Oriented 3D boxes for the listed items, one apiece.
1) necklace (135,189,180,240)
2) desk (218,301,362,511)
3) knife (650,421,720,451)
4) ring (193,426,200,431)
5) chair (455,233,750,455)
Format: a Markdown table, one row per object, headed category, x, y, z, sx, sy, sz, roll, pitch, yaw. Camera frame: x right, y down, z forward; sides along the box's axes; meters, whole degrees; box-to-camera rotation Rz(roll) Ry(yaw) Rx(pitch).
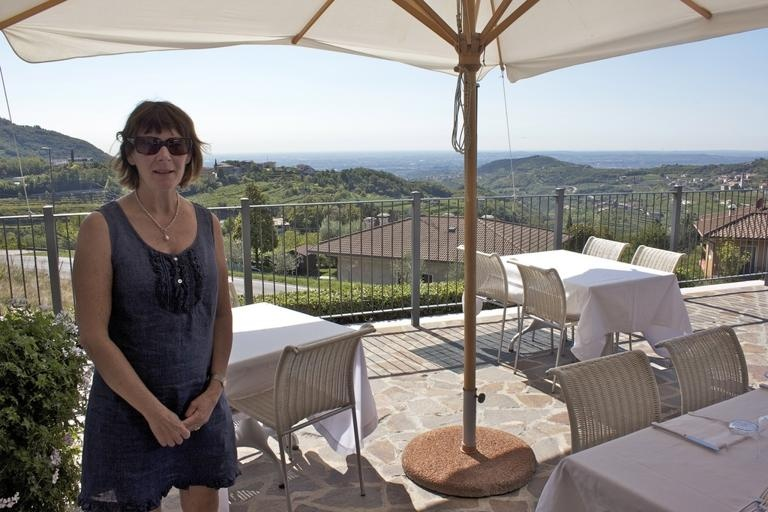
| category | x | y | z | sx | sy | sz | roll | pitch | yaw |
| --- | --- | --- | --- | --- | --- | --- | --- | --- | --- |
| necklace | -0.941 | -0.178 | 2.133 | 0.123 | 0.261 | 0.048 | -1 | 44 | -9 |
| desk | -0.831 | 1.003 | 3.832 | 1.071 | 0.820 | 1.068 | -1 | 5 | -30 |
| knife | 1.447 | 0.857 | 2.528 | 0.074 | 0.032 | 0.359 | -14 | 19 | -40 |
| ring | -0.814 | 0.743 | 2.204 | 0.020 | 0.008 | 0.026 | -1 | -2 | 42 |
| chair | 2.011 | 0.771 | 5.179 | 1.556 | 0.889 | 1.747 | -4 | 7 | -29 |
